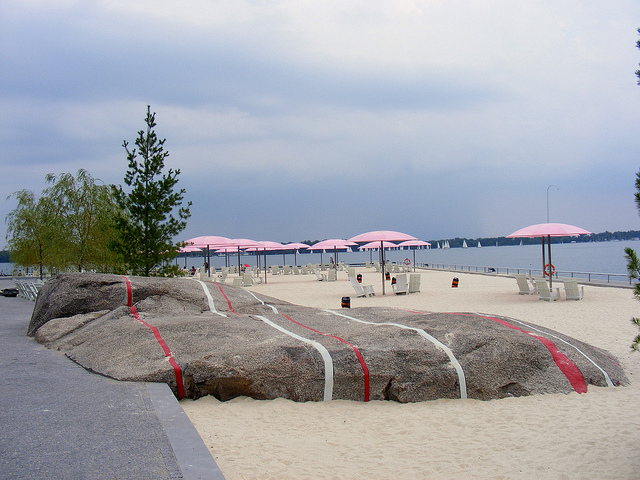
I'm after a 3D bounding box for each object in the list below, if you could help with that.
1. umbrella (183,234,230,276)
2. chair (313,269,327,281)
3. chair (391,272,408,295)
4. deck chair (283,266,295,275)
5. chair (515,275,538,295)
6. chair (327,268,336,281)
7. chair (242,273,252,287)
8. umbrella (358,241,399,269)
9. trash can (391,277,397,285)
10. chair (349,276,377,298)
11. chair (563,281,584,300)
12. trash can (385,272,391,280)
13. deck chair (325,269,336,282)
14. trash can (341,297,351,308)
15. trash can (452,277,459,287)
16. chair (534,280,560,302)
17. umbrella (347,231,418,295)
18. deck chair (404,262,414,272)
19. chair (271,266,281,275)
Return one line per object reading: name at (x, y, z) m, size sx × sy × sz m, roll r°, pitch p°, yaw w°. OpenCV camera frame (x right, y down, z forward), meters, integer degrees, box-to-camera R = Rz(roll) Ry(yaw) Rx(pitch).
umbrella at (-7.797, 1.216, 39.861) m, size 3.037 × 3.154 × 3.178 m, roll 0°, pitch 0°, yaw -6°
chair at (0.041, 2.191, 35.716) m, size 0.551 × 0.554 × 0.487 m, roll 0°, pitch 3°, yaw 2°
chair at (3.272, 1.658, 22.212) m, size 0.642 × 0.995 × 0.706 m, roll 0°, pitch 12°, yaw 0°
deck chair at (-2.324, 2.315, 42.770) m, size 0.525 × 0.801 × 0.784 m, roll 0°, pitch 0°, yaw -9°
chair at (7.499, 1.638, 20.783) m, size 0.857 × 0.802 × 0.639 m, roll 3°, pitch 0°, yaw -30°
chair at (0.737, 1.991, 32.938) m, size 0.459 × 0.530 × 1.157 m, roll 4°, pitch 2°, yaw 1°
chair at (-3.800, 2.103, 30.077) m, size 0.515 × 0.737 × 0.704 m, roll 0°, pitch 4°, yaw -8°
umbrella at (3.501, 0.320, 33.694) m, size 2.117 × 2.340 × 2.237 m, roll -2°, pitch -7°, yaw 8°
trash can at (2.957, 1.552, 22.192) m, size 0.221 × 0.262 × 0.281 m, roll 3°, pitch -10°, yaw -5°
chair at (1.689, 1.794, 21.948) m, size 0.852 × 0.776 × 0.641 m, roll 4°, pitch 5°, yaw 18°
chair at (8.393, 1.654, 18.810) m, size 0.487 × 0.574 × 0.751 m, roll 0°, pitch -3°, yaw 25°
trash can at (4.068, 2.078, 33.302) m, size 0.292 × 0.588 × 0.311 m, roll 0°, pitch -8°, yaw -3°
deck chair at (0.716, 2.023, 32.621) m, size 0.504 × 0.572 × 2.295 m, roll 4°, pitch 2°, yaw 2°
trash can at (0.801, 1.832, 16.949) m, size 0.250 × 0.488 × 0.262 m, roll -1°, pitch 11°, yaw 3°
trash can at (5.881, 1.824, 24.641) m, size 0.352 × 0.605 × 0.324 m, roll 1°, pitch -3°, yaw -8°
chair at (7.426, 1.641, 18.702) m, size 0.824 × 0.734 × 0.599 m, roll 4°, pitch -2°, yaw -41°
umbrella at (2.609, 0.890, 23.436) m, size 2.658 × 2.912 × 2.812 m, roll 2°, pitch 8°, yaw 29°
deck chair at (7.507, 2.248, 47.858) m, size 0.519 × 0.908 × 0.639 m, roll 1°, pitch 9°, yaw -1°
chair at (-3.218, 2.239, 42.773) m, size 0.702 × 0.760 × 0.517 m, roll 1°, pitch -8°, yaw -10°
